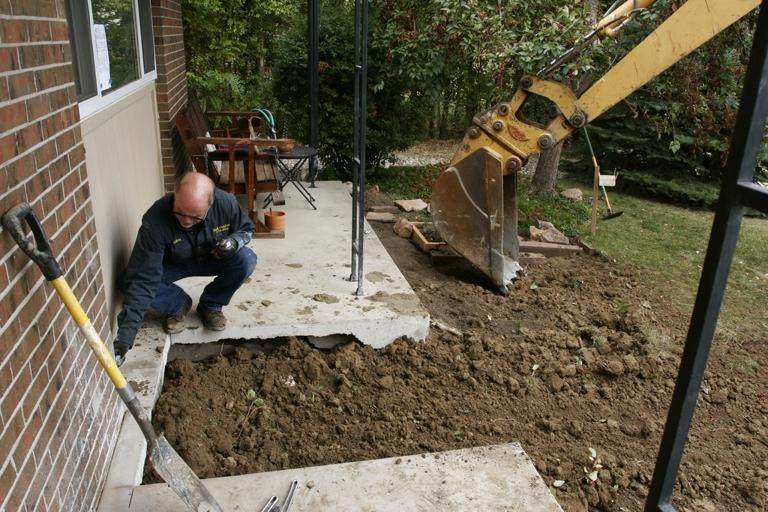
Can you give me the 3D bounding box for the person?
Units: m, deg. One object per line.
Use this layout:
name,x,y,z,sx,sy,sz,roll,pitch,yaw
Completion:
person,-1.454,-0.068,4.586,0.948,1.204,1.435,0,40,-18

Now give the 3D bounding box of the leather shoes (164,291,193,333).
leather shoes,-1.651,0.479,4.704,0.161,0.181,0.414,1,15,-10

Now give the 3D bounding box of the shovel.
shovel,-1.632,0.636,3.603,0.327,1.959,0.277,-21,15,12

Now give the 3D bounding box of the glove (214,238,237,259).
glove,-1.177,-0.060,4.493,0.163,0.123,0.160,-10,6,31

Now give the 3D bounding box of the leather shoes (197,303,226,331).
leather shoes,-1.342,0.490,4.706,0.295,0.129,0.126,28,24,32

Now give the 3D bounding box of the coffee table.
coffee table,-1.088,-0.932,7.076,0.483,0.571,0.506,0,3,8

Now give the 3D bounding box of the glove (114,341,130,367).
glove,-1.762,0.651,4.023,0.073,0.096,0.219,1,8,-9
